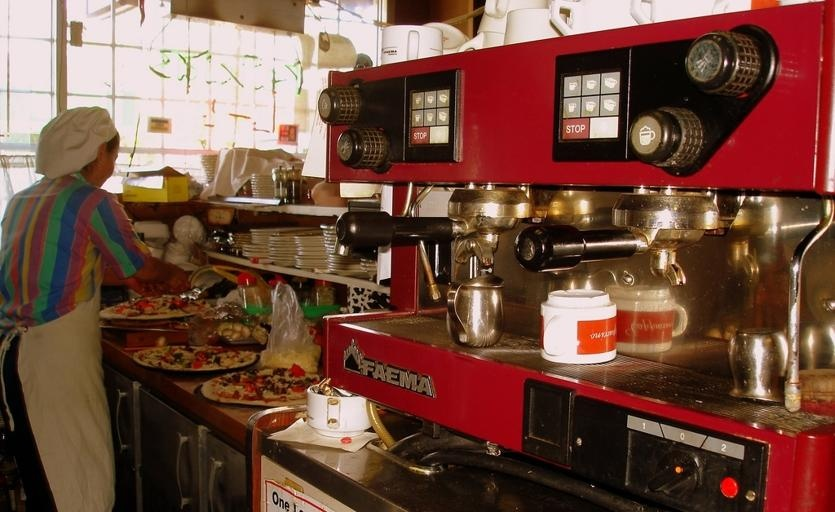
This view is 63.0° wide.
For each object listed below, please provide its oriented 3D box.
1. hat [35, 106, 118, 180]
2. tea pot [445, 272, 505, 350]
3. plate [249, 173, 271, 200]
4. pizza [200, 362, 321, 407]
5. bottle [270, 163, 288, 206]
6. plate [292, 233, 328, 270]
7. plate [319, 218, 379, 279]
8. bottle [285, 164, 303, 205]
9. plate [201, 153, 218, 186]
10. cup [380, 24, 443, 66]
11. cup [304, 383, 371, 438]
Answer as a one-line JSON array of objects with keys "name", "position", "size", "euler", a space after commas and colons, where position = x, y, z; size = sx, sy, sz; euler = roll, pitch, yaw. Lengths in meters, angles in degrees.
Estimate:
[{"name": "hat", "position": [-1.318, -0.448, 2.733], "size": [0.253, 0.240, 0.325], "euler": [15, 10, -5]}, {"name": "tea pot", "position": [0.121, 0.113, 1.377], "size": [0.101, 0.140, 0.159], "euler": [4, 4, 41]}, {"name": "plate", "position": [-0.774, -0.337, 3.342], "size": [0.135, 0.120, 0.135], "euler": [2, 5, 37]}, {"name": "pizza", "position": [-0.582, 0.466, 2.509], "size": [0.406, 0.058, 0.405], "euler": [3, 5, 17]}, {"name": "bottle", "position": [-0.628, -0.324, 3.140], "size": [0.062, 0.161, 0.205], "euler": [0, 6, -12]}, {"name": "plate", "position": [-0.463, -0.021, 2.933], "size": [0.162, 0.120, 0.152], "euler": [-1, 5, -9]}, {"name": "plate", "position": [-0.275, -0.033, 2.627], "size": [0.247, 0.211, 0.233], "euler": [0, 6, -9]}, {"name": "bottle", "position": [-0.570, -0.327, 3.146], "size": [0.067, 0.167, 0.188], "euler": [0, 6, -9]}, {"name": "plate", "position": [-1.229, -0.516, 4.065], "size": [0.082, 0.173, 0.241], "euler": [-2, 6, -30]}, {"name": "cup", "position": [-0.013, -0.446, 1.473], "size": [0.095, 0.056, 0.120], "euler": [1, 11, 2]}, {"name": "cup", "position": [-0.196, 0.372, 1.644], "size": [0.125, 0.075, 0.152], "euler": [0, -2, -4]}]
